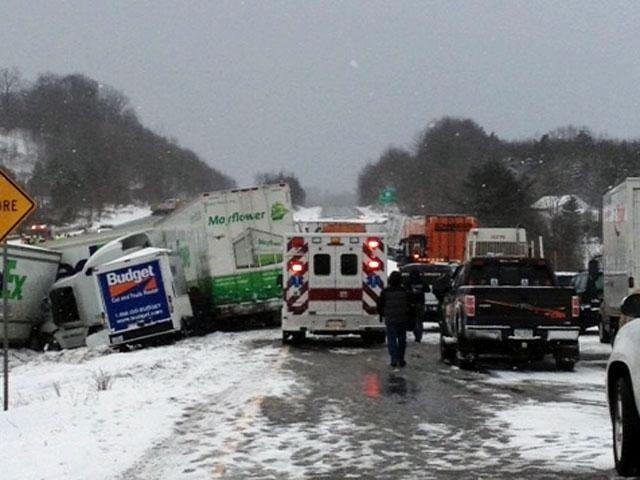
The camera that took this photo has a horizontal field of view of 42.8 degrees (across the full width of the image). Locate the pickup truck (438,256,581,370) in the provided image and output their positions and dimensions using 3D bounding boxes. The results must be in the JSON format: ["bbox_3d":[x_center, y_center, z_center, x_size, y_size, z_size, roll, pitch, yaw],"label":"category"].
[{"bbox_3d":[3.830,1.334,16.072,1.627,1.373,3.060,0,-1,-3],"label":"pickup truck"}]

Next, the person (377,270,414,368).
[{"bbox_3d":[1.536,1.631,16.844,0.632,1.926,1.154,0,1,14],"label":"person"}]
